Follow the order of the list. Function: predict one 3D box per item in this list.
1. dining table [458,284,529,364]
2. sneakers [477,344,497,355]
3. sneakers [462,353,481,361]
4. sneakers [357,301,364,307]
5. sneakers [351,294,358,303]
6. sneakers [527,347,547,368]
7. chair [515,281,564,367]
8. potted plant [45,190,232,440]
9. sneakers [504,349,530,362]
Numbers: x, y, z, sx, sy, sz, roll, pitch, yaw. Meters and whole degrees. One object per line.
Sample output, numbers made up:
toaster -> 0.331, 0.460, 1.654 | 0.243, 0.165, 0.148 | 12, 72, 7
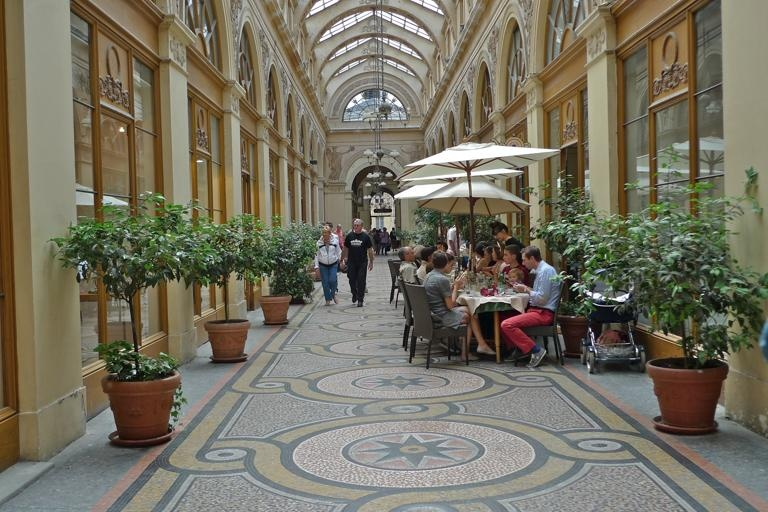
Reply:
dining table -> 1.613, 1.035, 7.744 | 1.044, 0.870, 1.027 | 0, -4, -3
sneakers -> 1.579, 1.462, 8.047 | 0.334, 0.131, 0.128 | 3, 1, -3
sneakers -> 1.369, 1.584, 8.077 | 0.278, 0.108, 0.143 | -1, -1, 1
sneakers -> -0.632, 1.270, 13.671 | 0.120, 0.136, 0.325 | -1, -6, 2
sneakers -> -0.812, 1.171, 14.079 | 0.088, 0.237, 0.170 | 1, 7, 3
sneakers -> 2.250, 1.465, 7.470 | 0.181, 0.422, 0.153 | 33, -32, -2
chair -> 2.436, 0.955, 8.058 | 0.687, 1.267, 1.552 | 0, 3, 19
potted plant -> -2.628, 0.537, 5.722 | 1.421, 2.484, 1.799 | -2, 3, -17
sneakers -> 2.039, 1.520, 7.877 | 0.442, 0.168, 0.154 | 1, 0, 2
